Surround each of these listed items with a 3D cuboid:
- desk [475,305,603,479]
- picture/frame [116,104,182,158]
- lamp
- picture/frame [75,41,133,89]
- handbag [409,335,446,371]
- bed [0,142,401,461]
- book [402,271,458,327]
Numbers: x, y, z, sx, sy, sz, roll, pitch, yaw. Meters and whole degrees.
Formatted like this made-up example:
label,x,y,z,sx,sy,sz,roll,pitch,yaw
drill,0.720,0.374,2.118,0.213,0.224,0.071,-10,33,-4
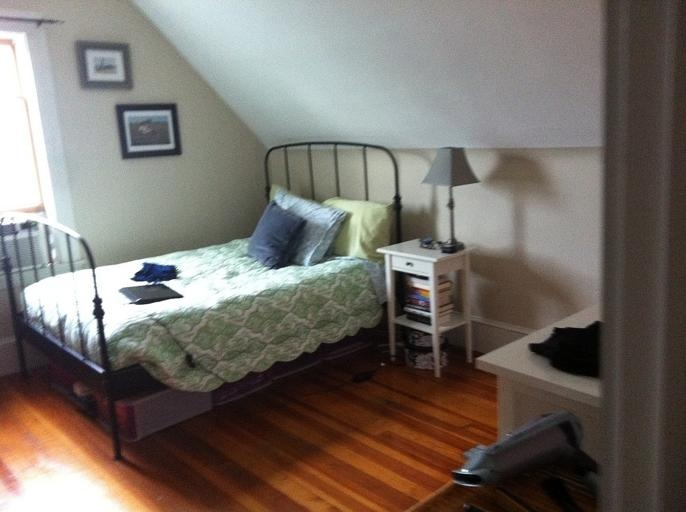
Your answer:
label,x,y,z,sx,sy,sz,roll,pitch,yaw
desk,0.676,0.432,1.715,0.344,0.250,0.409,-19,25,-37
picture/frame,-1.405,-0.909,3.908,0.410,0.333,0.031,-13,12,-36
lamp,0.620,-0.338,3.163,0.319,0.607,0.382,7,23,28
picture/frame,-1.622,-1.299,3.668,0.026,0.291,0.359,10,17,42
handbag,0.475,0.570,3.257,0.207,0.112,0.201,0,7,0
bed,-0.659,0.027,3.313,1.409,1.220,1.951,11,19,42
book,0.477,0.205,3.274,0.256,0.339,0.422,-7,7,-41
